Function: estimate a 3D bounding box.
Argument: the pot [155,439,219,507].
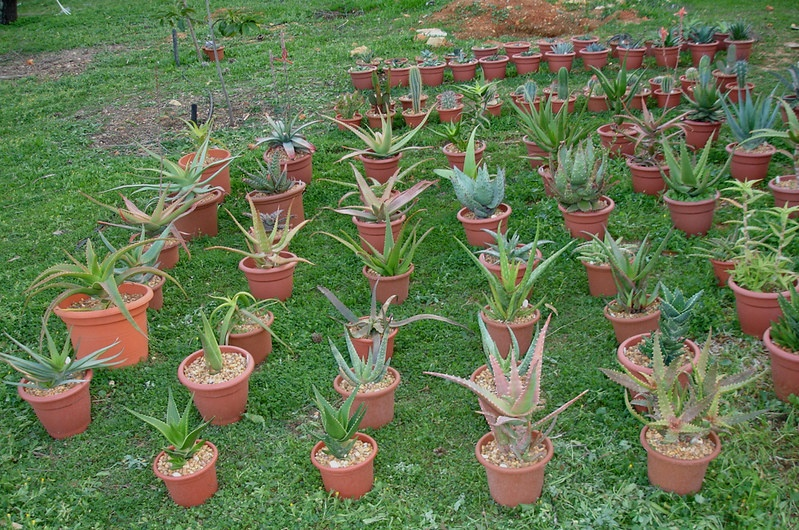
[{"bbox_3d":[-1.630,1.670,5.187,0.481,0.356,0.484,-1,26,1],"label":"pot"}]

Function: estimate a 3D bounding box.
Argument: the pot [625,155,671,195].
[{"bbox_3d":[2.636,-0.917,7.144,0.361,0.266,0.373,-2,32,1],"label":"pot"}]

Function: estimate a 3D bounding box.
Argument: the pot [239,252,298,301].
[{"bbox_3d":[-1.300,0.152,6.760,0.559,0.407,0.569,-4,15,1],"label":"pot"}]

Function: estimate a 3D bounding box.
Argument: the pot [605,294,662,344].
[{"bbox_3d":[2.033,0.537,5.821,0.385,0.269,0.387,-9,32,6],"label":"pot"}]

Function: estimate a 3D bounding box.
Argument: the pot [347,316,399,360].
[{"bbox_3d":[-0.225,0.708,6.040,0.363,0.280,0.374,0,28,0],"label":"pot"}]

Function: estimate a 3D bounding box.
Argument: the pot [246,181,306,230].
[{"bbox_3d":[-1.381,-0.737,7.477,0.540,0.394,0.532,-5,19,2],"label":"pot"}]

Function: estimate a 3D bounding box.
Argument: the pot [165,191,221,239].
[{"bbox_3d":[-2.240,-0.637,7.398,0.498,0.384,0.502,-2,33,1],"label":"pot"}]

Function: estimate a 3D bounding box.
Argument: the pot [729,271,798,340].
[{"bbox_3d":[3.042,0.369,5.755,0.507,0.391,0.523,-4,33,3],"label":"pot"}]

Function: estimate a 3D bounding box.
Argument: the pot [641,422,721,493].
[{"bbox_3d":[2.054,1.520,4.977,0.461,0.342,0.475,-1,34,1],"label":"pot"}]

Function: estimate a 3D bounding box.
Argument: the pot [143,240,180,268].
[{"bbox_3d":[-2.427,-0.100,7.005,0.268,0.190,0.272,-1,28,1],"label":"pot"}]

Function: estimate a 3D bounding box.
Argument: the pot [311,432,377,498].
[{"bbox_3d":[-0.379,1.536,5.291,0.482,0.506,0.343,-18,27,26],"label":"pot"}]

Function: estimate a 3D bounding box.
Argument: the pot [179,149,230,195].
[{"bbox_3d":[-2.227,-1.087,7.764,0.598,0.482,0.634,-1,30,1],"label":"pot"}]

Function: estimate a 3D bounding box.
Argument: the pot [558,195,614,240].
[{"bbox_3d":[1.902,-0.452,6.773,0.461,0.340,0.475,-3,31,2],"label":"pot"}]

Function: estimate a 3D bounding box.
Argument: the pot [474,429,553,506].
[{"bbox_3d":[0.855,1.616,5.013,0.511,0.378,0.525,-3,24,1],"label":"pot"}]

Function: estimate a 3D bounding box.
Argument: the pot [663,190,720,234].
[{"bbox_3d":[2.931,-0.481,6.721,0.458,0.366,0.480,-9,11,2],"label":"pot"}]

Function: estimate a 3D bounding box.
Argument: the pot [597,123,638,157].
[{"bbox_3d":[2.519,-1.450,7.762,0.453,0.319,0.467,-7,33,5],"label":"pot"}]

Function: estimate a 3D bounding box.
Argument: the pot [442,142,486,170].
[{"bbox_3d":[0.766,-1.280,7.909,0.404,0.301,0.417,-1,33,1],"label":"pot"}]

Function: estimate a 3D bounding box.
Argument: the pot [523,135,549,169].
[{"bbox_3d":[1.555,-1.291,7.830,0.309,0.242,0.310,-2,41,2],"label":"pot"}]

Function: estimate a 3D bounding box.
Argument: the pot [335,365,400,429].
[{"bbox_3d":[-0.257,1.113,5.626,0.551,0.367,0.373,-9,31,-7],"label":"pot"}]

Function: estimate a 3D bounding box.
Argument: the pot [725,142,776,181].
[{"bbox_3d":[3.641,-1.052,6.954,0.480,0.339,0.496,-2,27,1],"label":"pot"}]

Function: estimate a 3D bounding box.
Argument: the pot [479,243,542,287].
[{"bbox_3d":[1.012,-0.012,6.199,0.595,0.408,0.648,-3,31,2],"label":"pot"}]

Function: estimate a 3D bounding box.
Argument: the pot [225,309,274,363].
[{"bbox_3d":[-1.334,0.683,6.095,0.386,0.291,0.378,-6,26,3],"label":"pot"}]

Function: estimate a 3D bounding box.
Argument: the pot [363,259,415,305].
[{"bbox_3d":[-0.090,0.197,6.466,0.399,0.297,0.409,-1,27,1],"label":"pot"}]

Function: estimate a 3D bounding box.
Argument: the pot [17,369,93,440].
[{"bbox_3d":[-2.850,1.182,5.606,0.511,0.389,0.515,-1,28,0],"label":"pot"}]

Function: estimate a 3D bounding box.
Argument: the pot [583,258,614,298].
[{"bbox_3d":[1.927,0.123,6.332,0.331,0.277,0.333,-5,10,1],"label":"pot"}]

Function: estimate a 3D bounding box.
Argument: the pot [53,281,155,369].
[{"bbox_3d":[-2.684,0.722,6.274,0.809,0.826,0.622,-4,55,-28],"label":"pot"}]

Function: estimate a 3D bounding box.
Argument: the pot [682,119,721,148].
[{"bbox_3d":[3.387,-1.480,7.531,0.407,0.315,0.419,-1,24,0],"label":"pot"}]

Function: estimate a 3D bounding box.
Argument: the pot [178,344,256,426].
[{"bbox_3d":[-1.560,1.080,5.849,0.631,0.466,0.651,0,27,0],"label":"pot"}]

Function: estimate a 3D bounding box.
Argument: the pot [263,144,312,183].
[{"bbox_3d":[-1.230,-1.164,7.879,0.449,0.317,0.457,-3,31,1],"label":"pot"}]
